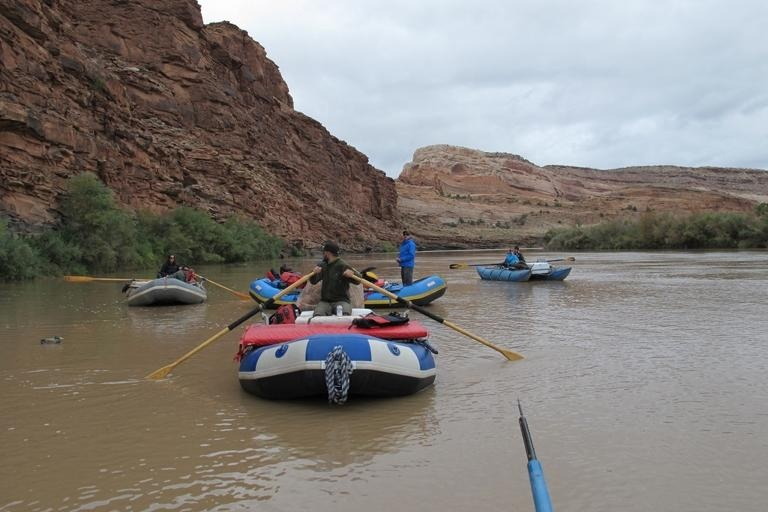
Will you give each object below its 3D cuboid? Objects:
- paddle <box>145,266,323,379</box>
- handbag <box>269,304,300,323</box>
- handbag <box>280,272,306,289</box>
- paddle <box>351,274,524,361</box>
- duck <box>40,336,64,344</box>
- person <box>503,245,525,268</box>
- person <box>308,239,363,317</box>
[{"bbox_3d":[-3.004,1.427,11.398,3.990,0.231,0.492,-31,11,-11],"label":"paddle"},{"bbox_3d":[-1.966,1.140,11.297,0.613,0.372,0.799,-2,1,-9],"label":"handbag"},{"bbox_3d":[-2.837,0.754,17.586,0.702,0.234,0.857,-7,3,-30],"label":"handbag"},{"bbox_3d":[1.392,1.558,14.693,5.266,0.477,0.272,18,6,5],"label":"paddle"},{"bbox_3d":[-7.619,1.940,13.361,0.491,0.230,0.222,10,-1,-42],"label":"duck"},{"bbox_3d":[6.561,0.181,28.984,1.244,0.542,1.256,2,30,6],"label":"person"},{"bbox_3d":[-0.988,0.432,11.497,0.927,1.430,0.887,-3,3,-6],"label":"person"}]
